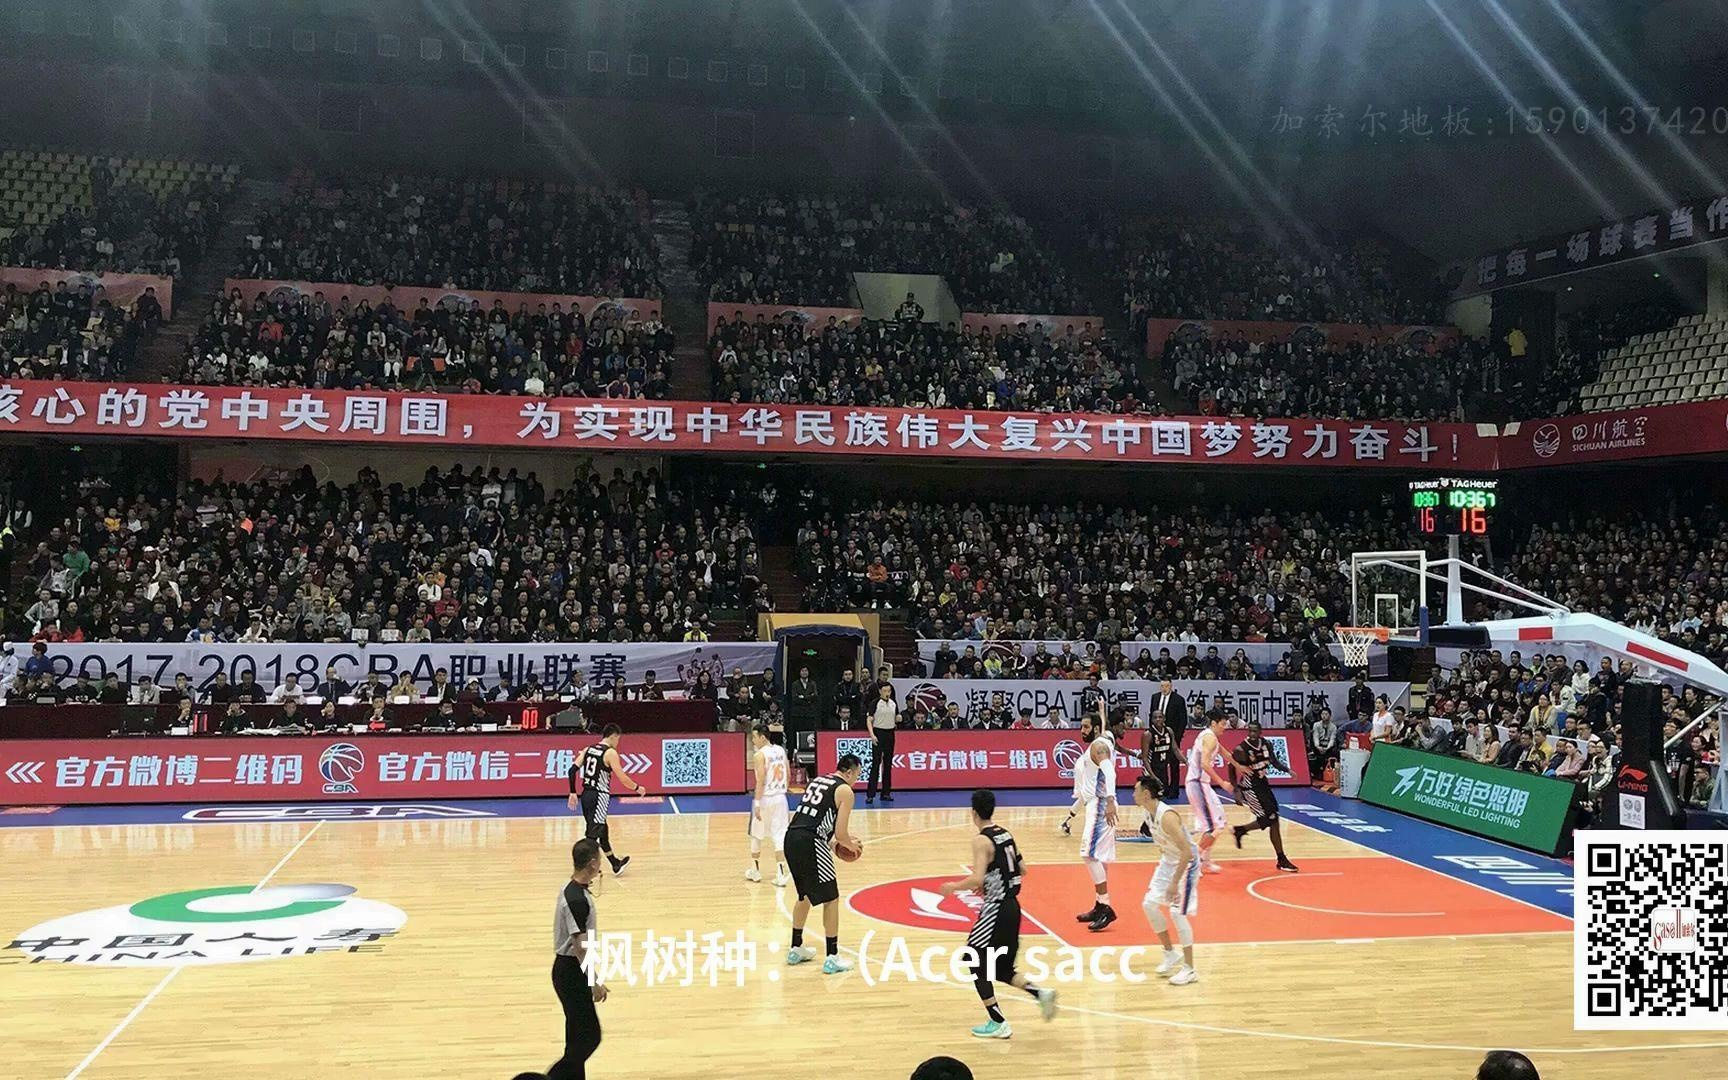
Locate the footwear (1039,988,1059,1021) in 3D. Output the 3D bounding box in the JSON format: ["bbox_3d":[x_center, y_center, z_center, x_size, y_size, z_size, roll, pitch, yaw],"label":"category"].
[{"bbox_3d":[2.940,7.527,23.649,0.293,0.658,0.240,-4,31,19],"label":"footwear"}]

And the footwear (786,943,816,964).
[{"bbox_3d":[-1.044,7.162,25.520,0.606,0.276,0.219,-3,5,-22],"label":"footwear"}]

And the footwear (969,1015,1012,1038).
[{"bbox_3d":[2.063,7.849,23.737,0.742,0.362,0.293,0,-13,3],"label":"footwear"}]

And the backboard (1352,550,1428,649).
[{"bbox_3d":[14.919,1.591,41.015,1.926,2.354,2.347,-7,2,-37],"label":"backboard"}]

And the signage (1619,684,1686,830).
[{"bbox_3d":[14.792,4.074,28.040,1.130,2.730,0.765,-9,-12,44],"label":"signage"}]

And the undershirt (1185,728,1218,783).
[{"bbox_3d":[6.468,4.148,28.129,0.426,0.930,0.769,-4,-9,24],"label":"undershirt"}]

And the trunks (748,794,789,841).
[{"bbox_3d":[-1.848,5.468,28.792,0.621,0.946,0.522,1,-9,-7],"label":"trunks"}]

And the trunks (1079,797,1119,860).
[{"bbox_3d":[4.335,5.370,27.243,0.538,1.163,0.926,-1,-9,6],"label":"trunks"}]

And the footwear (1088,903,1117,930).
[{"bbox_3d":[4.324,6.872,26.827,0.477,0.471,0.311,-1,-9,2],"label":"footwear"}]

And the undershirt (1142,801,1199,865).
[{"bbox_3d":[5.316,5.084,25.343,0.694,1.082,1.189,-1,-9,5],"label":"undershirt"}]

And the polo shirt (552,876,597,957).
[{"bbox_3d":[-4.315,5.684,22.160,0.664,1.122,1.169,1,-1,-9],"label":"polo shirt"}]

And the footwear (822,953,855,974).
[{"bbox_3d":[-0.452,7.242,25.225,0.540,0.261,0.256,0,2,-20],"label":"footwear"}]

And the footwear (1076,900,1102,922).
[{"bbox_3d":[4.117,6.872,27.078,0.572,0.400,0.227,0,-7,12],"label":"footwear"}]

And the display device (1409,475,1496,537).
[{"bbox_3d":[13.588,-0.724,34.500,1.766,1.217,1.346,-1,-2,2],"label":"display device"}]
